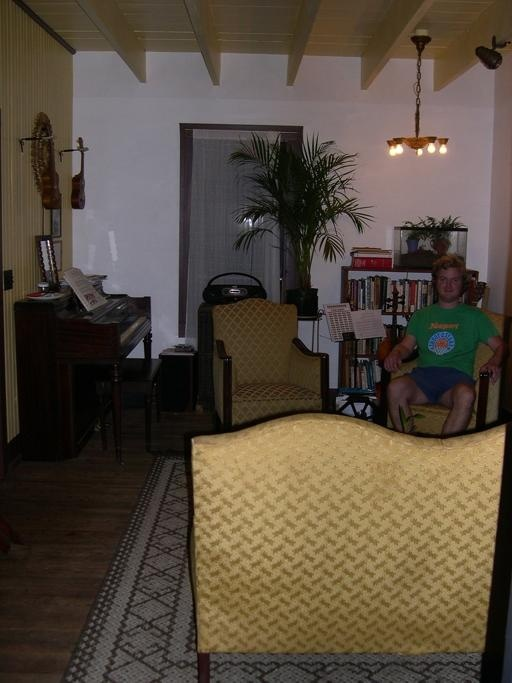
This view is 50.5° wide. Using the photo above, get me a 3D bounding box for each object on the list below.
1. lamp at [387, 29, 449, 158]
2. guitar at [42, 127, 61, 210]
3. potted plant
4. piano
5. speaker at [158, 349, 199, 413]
[{"bbox_3d":[1.546,-2.348,5.185,0.517,0.972,0.523,1,17,0],"label":"lamp"},{"bbox_3d":[-1.706,-1.414,4.480,0.142,0.619,0.712,-3,7,-20],"label":"guitar"},{"bbox_3d":[0.394,-1.088,5.803,1.817,2.402,1.616,0,0,-3],"label":"potted plant"},{"bbox_3d":[-1.324,0.149,4.473,0.698,1.210,1.413,0,11,-1],"label":"piano"},{"bbox_3d":[-0.793,0.310,5.410,0.347,0.644,0.374,-3,29,-14],"label":"speaker"}]
